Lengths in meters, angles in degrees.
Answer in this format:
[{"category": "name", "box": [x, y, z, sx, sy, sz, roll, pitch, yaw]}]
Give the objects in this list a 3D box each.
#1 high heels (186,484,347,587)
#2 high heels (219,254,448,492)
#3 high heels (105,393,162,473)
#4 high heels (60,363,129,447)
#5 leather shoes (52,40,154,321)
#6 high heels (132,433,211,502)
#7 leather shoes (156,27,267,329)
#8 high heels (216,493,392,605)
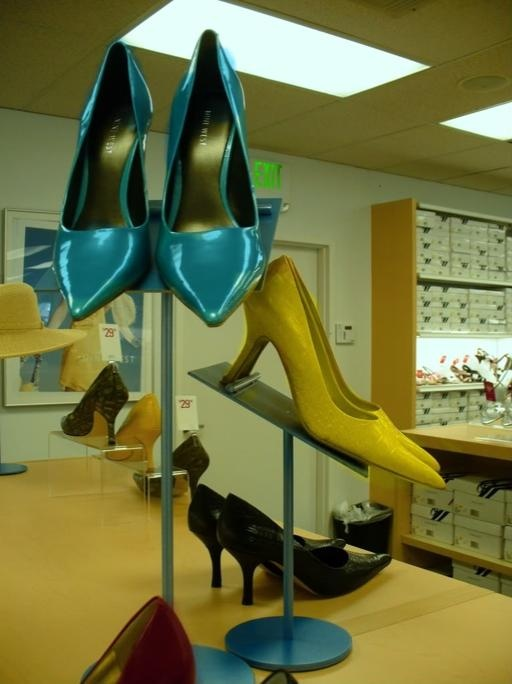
[{"category": "high heels", "box": [0.042, 0.273, 0.800, 0.271, 0.129, 0.080, 12, 15, -44]}, {"category": "high heels", "box": [0.084, 0.027, 0.597, 0.162, 0.221, 0.208, 5, -3, -36]}, {"category": "high heels", "box": [-0.263, 0.189, 1.365, 0.096, 0.164, 0.296, 2, 4, -21]}, {"category": "high heels", "box": [-0.341, 0.120, 1.181, 0.212, 0.150, 0.078, 1, 6, 41]}, {"category": "leather shoes", "box": [-0.117, -0.132, 0.455, 0.068, 0.156, 0.126, 4, -2, -15]}, {"category": "high heels", "box": [-0.130, 0.207, 0.960, 0.067, 0.128, 0.171, 5, -2, -45]}, {"category": "leather shoes", "box": [-0.036, -0.130, 0.459, 0.081, 0.268, 0.065, -2, -12, 1]}, {"category": "high heels", "box": [0.059, 0.237, 0.750, 0.205, 0.107, 0.125, -1, -1, -27]}]
